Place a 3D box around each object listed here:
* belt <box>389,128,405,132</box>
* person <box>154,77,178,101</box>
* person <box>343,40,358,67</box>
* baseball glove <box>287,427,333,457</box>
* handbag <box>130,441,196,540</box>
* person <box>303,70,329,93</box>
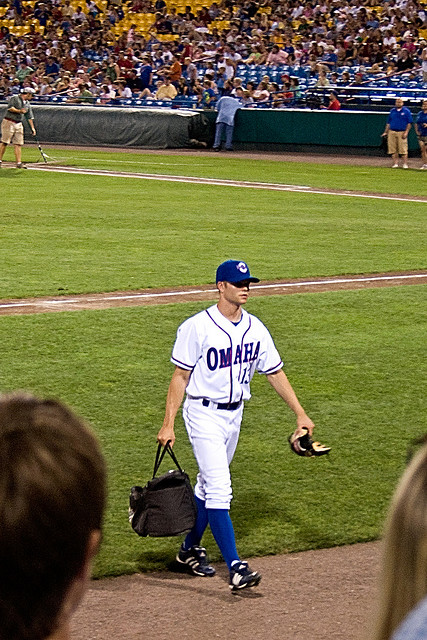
[{"bbox_3d":[4.639,-4.820,24.017,0.350,0.060,0.055,5,2,28],"label":"belt"},{"bbox_3d":[-1.703,-8.146,33.381,0.750,0.893,0.628,5,2,9],"label":"person"},{"bbox_3d":[4.398,-8.723,30.982,0.384,0.978,0.707,4,2,-12],"label":"person"},{"bbox_3d":[0.422,0.562,4.341,0.086,0.108,0.251,-10,3,-27],"label":"baseball glove"},{"bbox_3d":[-0.226,0.800,4.152,0.306,0.201,0.183,5,2,9],"label":"handbag"},{"bbox_3d":[3.260,-7.631,29.992,0.738,0.790,0.978,5,2,3],"label":"person"}]
